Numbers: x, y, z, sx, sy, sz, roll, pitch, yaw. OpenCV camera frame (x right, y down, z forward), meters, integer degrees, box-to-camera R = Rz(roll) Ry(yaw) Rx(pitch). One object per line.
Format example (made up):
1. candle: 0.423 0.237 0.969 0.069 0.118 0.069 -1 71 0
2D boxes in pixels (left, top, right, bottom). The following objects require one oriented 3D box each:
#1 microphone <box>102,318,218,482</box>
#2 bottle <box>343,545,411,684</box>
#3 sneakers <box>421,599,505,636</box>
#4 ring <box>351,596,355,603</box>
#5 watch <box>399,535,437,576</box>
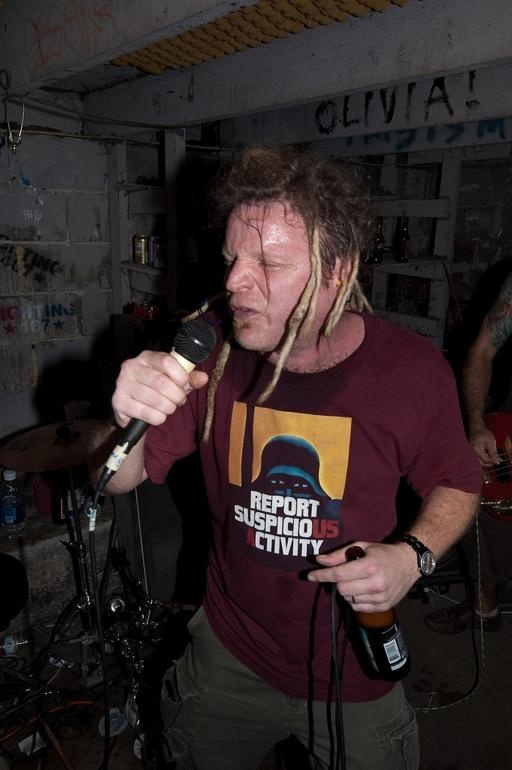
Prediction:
1. microphone: -0.188 0.036 1.145 0.215 0.321 0.124 0 13 -3
2. bottle: 0.277 0.575 1.336 0.129 0.223 0.107 4 13 13
3. sneakers: 1.019 1.150 3.008 0.385 0.157 0.145 2 24 3
4. ring: 0.199 0.439 1.228 0.008 0.015 0.018 -7 -25 0
5. watch: 0.347 0.368 1.294 0.043 0.062 0.063 -24 68 -26
